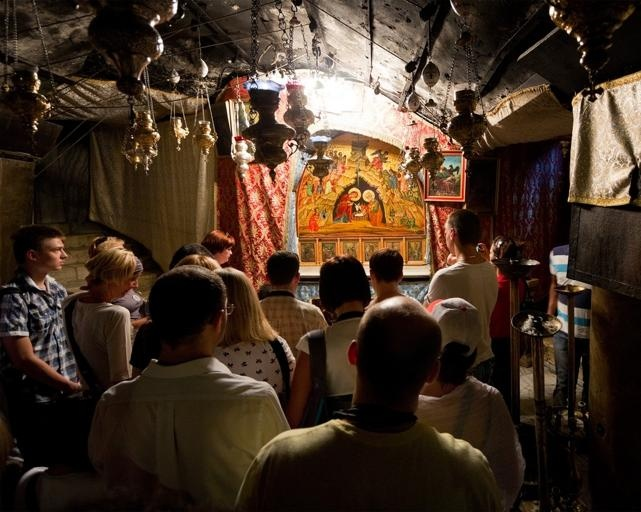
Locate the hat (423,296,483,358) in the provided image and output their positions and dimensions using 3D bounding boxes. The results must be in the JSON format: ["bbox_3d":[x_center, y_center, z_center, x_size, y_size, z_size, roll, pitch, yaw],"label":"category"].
[{"bbox_3d":[0.609,0.382,2.681,0.239,0.175,0.382,13,21,-2],"label":"hat"}]
